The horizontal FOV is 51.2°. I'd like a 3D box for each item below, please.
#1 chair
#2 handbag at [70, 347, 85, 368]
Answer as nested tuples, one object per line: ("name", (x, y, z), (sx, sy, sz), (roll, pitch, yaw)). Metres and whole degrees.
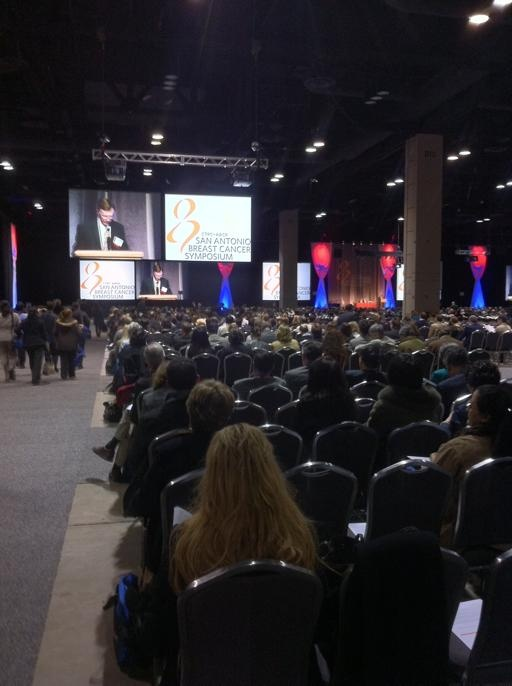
("chair", (0.235, 0.590, 2.646), (0.801, 1.721, 1.151), (-4, 35, -7))
("handbag", (-4.085, 0.332, 12.291), (0.190, 0.558, 0.319), (22, 20, 28))
